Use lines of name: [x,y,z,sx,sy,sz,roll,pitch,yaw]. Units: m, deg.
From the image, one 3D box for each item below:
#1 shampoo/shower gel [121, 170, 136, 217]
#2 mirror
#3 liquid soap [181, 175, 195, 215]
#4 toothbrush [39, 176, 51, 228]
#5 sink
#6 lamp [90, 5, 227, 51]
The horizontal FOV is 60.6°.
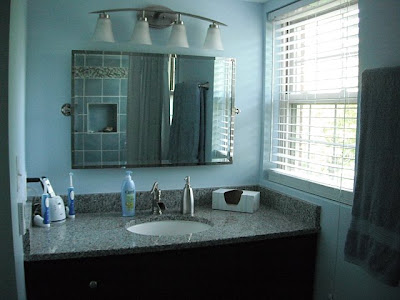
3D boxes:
shampoo/shower gel: [-0.507,0.300,2.410,0.097,0.316,0.090,-2,13,-24]
mirror: [-0.359,-0.274,2.518,1.270,0.816,0.057,-1,12,-20]
liquid soap: [-0.095,0.324,2.518,0.089,0.267,0.177,0,11,-6]
toothbrush: [-0.989,0.335,2.194,0.052,0.297,0.119,-4,12,-26]
sink: [-0.212,0.503,2.418,0.569,0.153,0.409,1,3,-13]
lamp: [-0.275,-0.876,2.455,0.969,0.284,0.231,-2,11,-17]
